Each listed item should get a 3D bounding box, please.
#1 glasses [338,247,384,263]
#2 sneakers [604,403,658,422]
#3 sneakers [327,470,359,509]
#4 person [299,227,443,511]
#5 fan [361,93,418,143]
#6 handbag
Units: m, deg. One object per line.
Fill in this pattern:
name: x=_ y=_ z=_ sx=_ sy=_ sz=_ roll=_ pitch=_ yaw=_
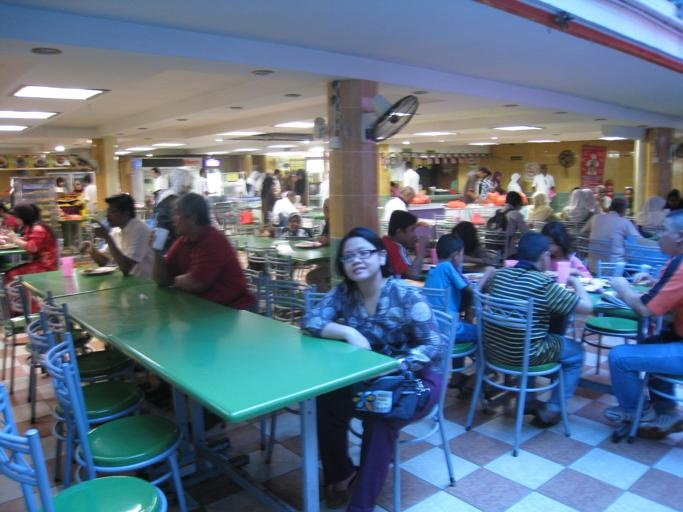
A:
glasses: x=0.110 y=0.001 z=2.799 sx=0.241 sy=0.070 sz=0.085 roll=-2 pitch=7 yaw=2
sneakers: x=2.037 y=1.133 z=3.577 sx=0.368 sy=0.119 sz=0.130 roll=2 pitch=8 yaw=23
sneakers: x=0.035 y=1.385 z=3.004 sx=0.073 sy=0.247 sz=0.105 roll=42 pitch=-20 yaw=-30
person: x=0.163 y=0.654 z=2.796 sx=0.777 sy=1.611 sz=0.610 roll=-2 pitch=9 yaw=8
fan: x=0.482 y=-1.398 z=5.075 sx=0.541 sy=0.453 sz=0.258 roll=-2 pitch=9 yaw=3
handbag: x=0.263 y=0.732 z=2.609 sx=0.358 sy=0.112 sz=0.276 roll=-9 pitch=-2 yaw=34
